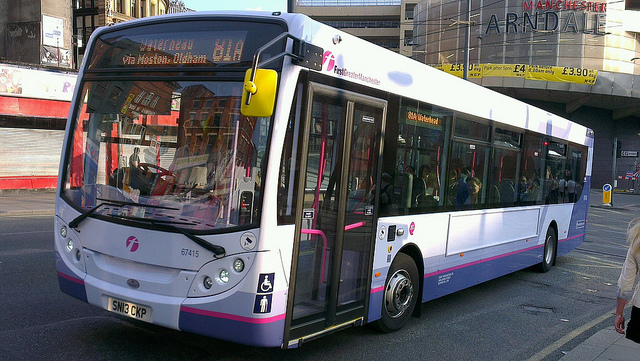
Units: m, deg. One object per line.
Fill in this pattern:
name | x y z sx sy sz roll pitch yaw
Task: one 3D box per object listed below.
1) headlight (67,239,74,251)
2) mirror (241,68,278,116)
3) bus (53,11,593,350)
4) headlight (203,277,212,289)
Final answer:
headlight | -4.173 1.080 7.855 0.124 0.127 0.035 -34 9 42
mirror | -0.888 -1.271 6.881 0.640 0.691 0.240 5 -2 23
bus | 0.235 -0.019 8.912 9.081 5.470 2.772 -1 10 -32
headlight | -1.722 1.561 7.175 0.141 0.150 0.044 14 2 17
